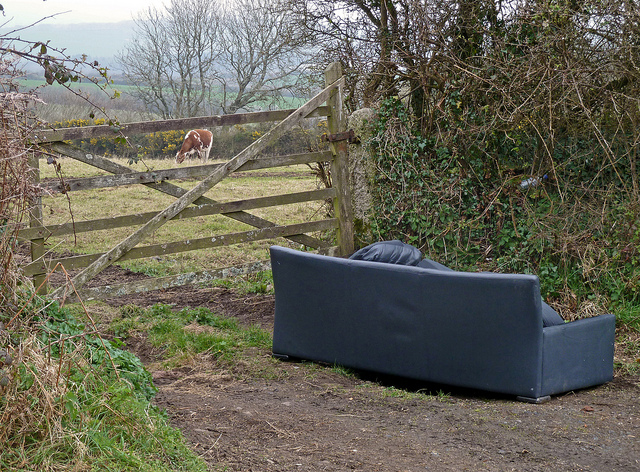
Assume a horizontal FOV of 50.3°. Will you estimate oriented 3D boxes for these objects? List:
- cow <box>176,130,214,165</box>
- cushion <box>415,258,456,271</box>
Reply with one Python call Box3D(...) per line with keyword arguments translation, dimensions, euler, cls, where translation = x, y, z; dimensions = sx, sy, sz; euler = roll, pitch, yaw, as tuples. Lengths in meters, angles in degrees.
Box3D(translation=(-2.924, -2.148, 16.034), dimensions=(0.420, 0.798, 1.363), euler=(11, 22, 28), cls="cow")
Box3D(translation=(1.049, 0.268, 6.353), dimensions=(0.255, 0.094, 0.154), euler=(11, 8, -25), cls="cushion")
